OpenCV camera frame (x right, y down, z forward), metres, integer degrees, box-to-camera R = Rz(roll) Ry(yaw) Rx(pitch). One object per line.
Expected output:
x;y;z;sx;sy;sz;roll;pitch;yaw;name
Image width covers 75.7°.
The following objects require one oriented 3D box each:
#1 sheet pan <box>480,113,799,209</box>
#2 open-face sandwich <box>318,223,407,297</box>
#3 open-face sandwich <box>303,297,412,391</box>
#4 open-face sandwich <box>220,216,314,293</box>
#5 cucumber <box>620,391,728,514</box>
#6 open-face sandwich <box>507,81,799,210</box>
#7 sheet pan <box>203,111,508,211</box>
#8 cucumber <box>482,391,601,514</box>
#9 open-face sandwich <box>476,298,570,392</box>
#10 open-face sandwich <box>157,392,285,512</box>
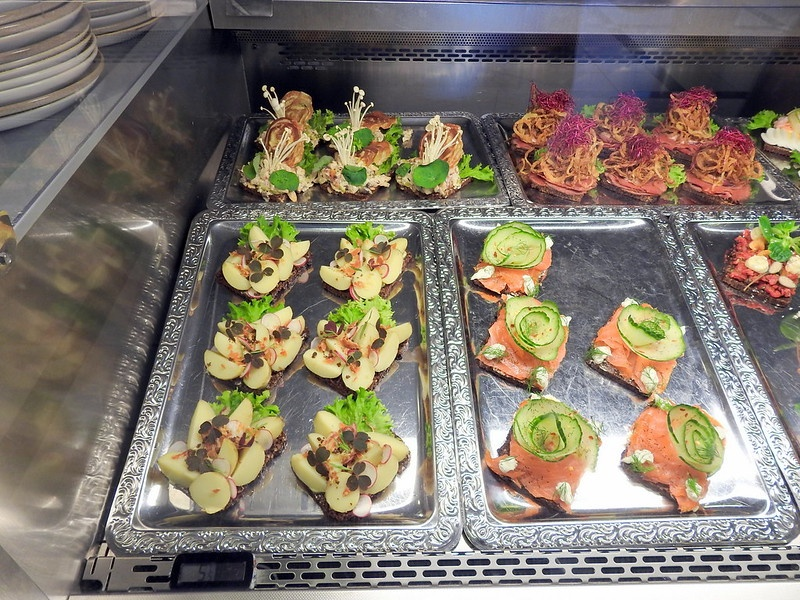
1.168;-0.703;2.590;1.505;0.160;0.779;1;58;3;sheet pan
-0.143;-0.154;2.071;0.296;0.117;0.348;19;54;14;open-face sandwich
-0.159;0.150;1.849;0.292;0.105;0.351;26;54;12;open-face sandwich
-0.526;-0.188;2.094;0.276;0.119;0.362;33;62;14;open-face sandwich
0.866;0.475;1.626;0.316;0.099;0.326;31;78;14;cucumber
1.194;-0.716;2.520;1.126;0.147;0.668;1;49;4;open-face sandwich
-0.225;-0.608;2.399;1.020;0.100;0.694;-1;45;-3;sheet pan
0.461;0.454;1.635;0.314;0.115;0.348;32;54;19;cucumber
0.458;0.155;1.865;0.286;0.113;0.349;20;57;16;open-face sandwich
-0.535;0.458;1.607;0.293;0.118;0.366;33;58;11;open-face sandwich
